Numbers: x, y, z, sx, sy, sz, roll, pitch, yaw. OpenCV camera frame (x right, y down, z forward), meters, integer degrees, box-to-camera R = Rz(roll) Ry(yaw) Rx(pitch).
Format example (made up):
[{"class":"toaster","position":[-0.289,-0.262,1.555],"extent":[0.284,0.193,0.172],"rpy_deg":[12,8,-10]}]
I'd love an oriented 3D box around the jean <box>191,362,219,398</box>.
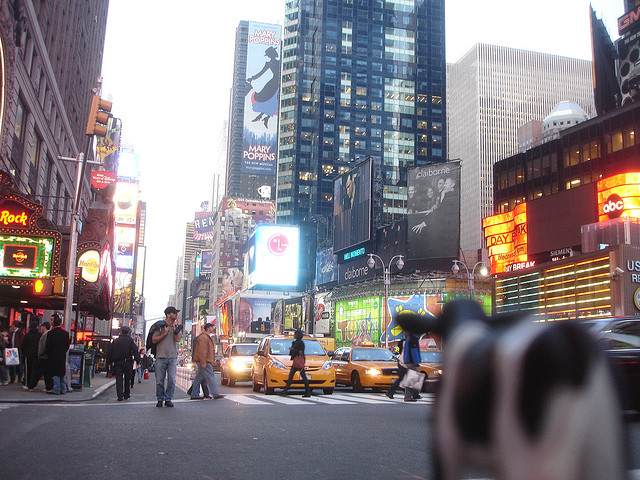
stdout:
[{"class":"jean","position":[-3.148,3.839,15.935],"extent":[0.647,0.950,1.045],"rpy_deg":[7,-12,-29]}]

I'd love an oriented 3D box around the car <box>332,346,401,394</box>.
[{"class":"car","position":[1.690,4.954,22.272],"extent":[1.509,1.215,3.435],"rpy_deg":[4,-17,-13]}]

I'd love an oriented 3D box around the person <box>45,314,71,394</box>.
[{"class":"person","position":[-7.310,3.175,16.267],"extent":[0.709,2.164,1.329],"rpy_deg":[5,-11,-24]}]

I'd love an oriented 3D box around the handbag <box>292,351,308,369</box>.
[{"class":"handbag","position":[-0.640,3.565,17.409],"extent":[0.394,0.484,0.182],"rpy_deg":[6,-11,-25]}]

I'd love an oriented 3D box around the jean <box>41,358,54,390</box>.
[{"class":"jean","position":[-7.582,3.706,16.149],"extent":[0.342,0.841,1.140],"rpy_deg":[8,-13,-35]}]

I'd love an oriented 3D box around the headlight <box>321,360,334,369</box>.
[{"class":"headlight","position":[0.256,4.065,19.003],"extent":[0.266,0.264,0.591],"rpy_deg":[-1,-12,11]}]

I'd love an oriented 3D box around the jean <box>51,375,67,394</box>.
[{"class":"jean","position":[-7.115,3.906,15.804],"extent":[0.329,0.484,0.536],"rpy_deg":[6,-12,-23]}]

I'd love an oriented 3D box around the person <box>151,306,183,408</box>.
[{"class":"person","position":[-3.708,2.724,13.929],"extent":[0.719,2.412,0.749],"rpy_deg":[-1,-14,-4]}]

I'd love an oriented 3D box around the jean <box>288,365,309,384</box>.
[{"class":"jean","position":[-0.685,4.113,17.816],"extent":[0.668,0.765,0.270],"rpy_deg":[2,-5,-8]}]

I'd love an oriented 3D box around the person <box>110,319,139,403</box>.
[{"class":"person","position":[-5.756,3.591,16.996],"extent":[0.757,2.124,0.751],"rpy_deg":[7,-16,-33]}]

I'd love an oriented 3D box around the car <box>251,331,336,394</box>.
[{"class":"car","position":[-1.015,4.013,19.595],"extent":[1.558,1.373,2.811],"rpy_deg":[3,-17,-14]}]

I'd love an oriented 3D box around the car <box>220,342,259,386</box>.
[{"class":"car","position":[-3.672,5.419,25.520],"extent":[1.129,1.230,2.668],"rpy_deg":[3,-15,-13]}]

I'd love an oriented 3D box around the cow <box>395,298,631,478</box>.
[{"class":"cow","position":[0.497,0.409,1.563],"extent":[0.240,0.512,0.553],"rpy_deg":[11,-14,-43]}]

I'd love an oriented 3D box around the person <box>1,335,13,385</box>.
[{"class":"person","position":[-11.081,4.203,20.376],"extent":[0.344,1.611,1.798],"rpy_deg":[6,-12,-28]}]

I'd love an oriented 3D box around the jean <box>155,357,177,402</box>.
[{"class":"jean","position":[-3.665,3.271,13.781],"extent":[0.453,1.172,0.414],"rpy_deg":[0,-36,-13]}]
